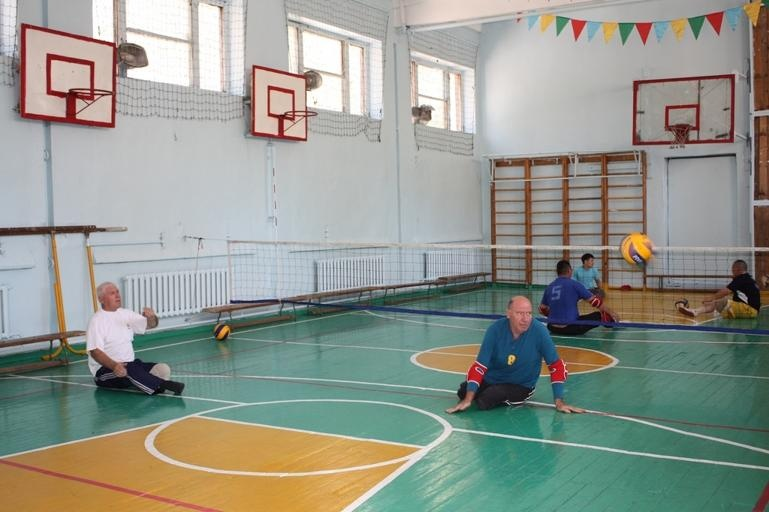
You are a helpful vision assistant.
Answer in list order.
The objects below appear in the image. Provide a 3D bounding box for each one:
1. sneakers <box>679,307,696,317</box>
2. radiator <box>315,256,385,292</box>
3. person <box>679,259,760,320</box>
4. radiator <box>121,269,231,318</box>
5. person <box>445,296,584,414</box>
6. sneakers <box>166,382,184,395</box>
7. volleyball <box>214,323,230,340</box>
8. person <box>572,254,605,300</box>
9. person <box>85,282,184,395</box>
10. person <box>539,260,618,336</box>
[{"bbox_3d":[5.271,0.968,10.268,0.218,0.083,0.159,7,3,44],"label":"sneakers"},{"bbox_3d":[-0.718,0.361,12.627,1.859,0.695,0.032,-5,-8,43],"label":"radiator"},{"bbox_3d":[6.108,0.630,10.365,1.505,1.090,0.837,-2,1,32],"label":"person"},{"bbox_3d":[-3.382,0.615,9.911,1.756,0.734,0.164,-5,-5,-40],"label":"radiator"},{"bbox_3d":[1.201,1.011,5.966,1.264,1.075,1.035,0,5,-9],"label":"person"},{"bbox_3d":[-2.437,1.509,6.802,0.199,0.165,0.228,-3,7,-16],"label":"sneakers"},{"bbox_3d":[-2.632,1.218,9.473,0.228,0.248,0.286,-3,7,-18],"label":"volleyball"},{"bbox_3d":[3.816,0.361,11.001,0.578,0.803,0.573,0,8,16],"label":"person"},{"bbox_3d":[-2.845,0.960,6.767,1.229,1.144,0.828,5,8,22],"label":"person"},{"bbox_3d":[3.042,0.621,9.364,1.288,1.053,1.361,-1,-1,2],"label":"person"}]
